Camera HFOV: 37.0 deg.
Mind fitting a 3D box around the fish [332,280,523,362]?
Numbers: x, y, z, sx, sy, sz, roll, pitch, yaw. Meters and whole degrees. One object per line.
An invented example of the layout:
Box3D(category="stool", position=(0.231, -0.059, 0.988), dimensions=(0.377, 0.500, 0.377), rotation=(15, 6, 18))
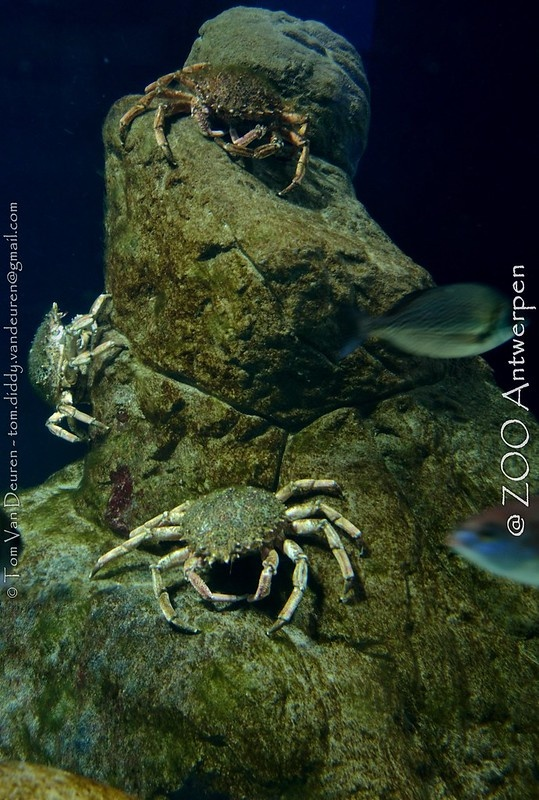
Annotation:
Box3D(category="fish", position=(0.959, -0.452, 4.752), dimensions=(1.189, 0.463, 0.212), rotation=(-4, 23, -11))
